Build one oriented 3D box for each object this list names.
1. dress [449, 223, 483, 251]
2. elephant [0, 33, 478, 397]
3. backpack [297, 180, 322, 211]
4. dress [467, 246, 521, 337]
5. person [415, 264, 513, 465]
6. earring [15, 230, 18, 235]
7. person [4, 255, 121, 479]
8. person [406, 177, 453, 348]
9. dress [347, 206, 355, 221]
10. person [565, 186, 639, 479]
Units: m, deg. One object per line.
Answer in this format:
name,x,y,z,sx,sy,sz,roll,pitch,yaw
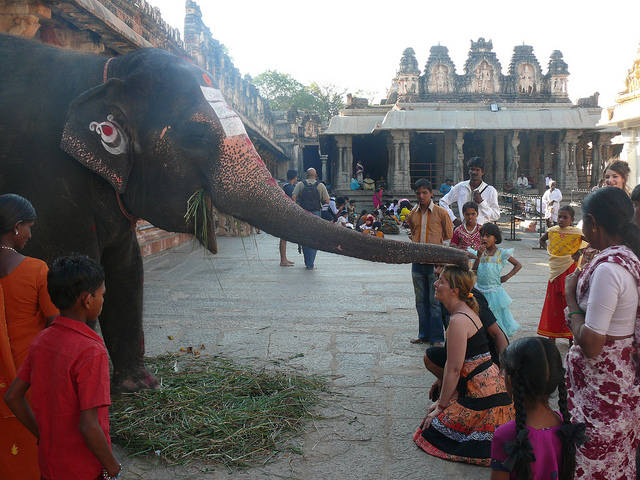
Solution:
dress,1.404,-0.023,6.507,0.252,0.201,0.092,1,2,32
elephant,-0.300,-0.417,5.418,4.015,2.276,1.673,3,10,-5
backpack,-0.145,-0.722,10.829,0.367,0.533,0.564,4,4,9
dress,1.561,0.465,6.270,0.452,0.818,0.376,-2,9,16
person,1.013,0.810,4.652,0.755,1.242,0.721,1,3,25
earring,-1.687,-0.042,3.785,0.013,0.025,0.007,-2,5,-22
person,-1.321,0.668,3.480,0.573,1.143,0.307,0,5,-9
person,1.007,0.220,6.496,0.499,1.629,0.527,-1,-1,44
dress,0.912,-0.812,20.129,0.297,0.366,0.404,3,7,16
person,1.560,0.537,3.736,0.417,1.651,0.339,2,5,19
